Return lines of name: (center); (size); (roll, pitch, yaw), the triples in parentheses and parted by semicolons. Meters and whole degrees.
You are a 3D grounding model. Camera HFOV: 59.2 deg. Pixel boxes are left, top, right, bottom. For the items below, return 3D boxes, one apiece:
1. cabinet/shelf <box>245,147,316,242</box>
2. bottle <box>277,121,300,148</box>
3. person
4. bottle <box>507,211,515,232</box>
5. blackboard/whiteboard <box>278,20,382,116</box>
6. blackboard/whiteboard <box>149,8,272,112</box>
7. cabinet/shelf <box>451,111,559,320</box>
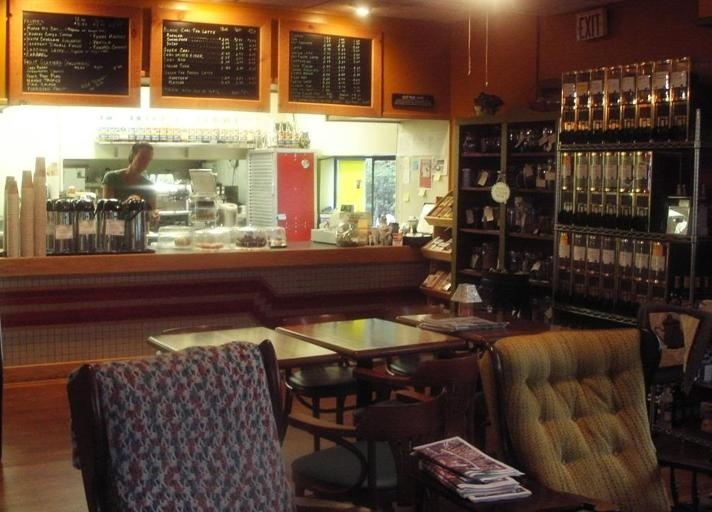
cabinet/shelf: (-1.135, -0.896, 9.089); (1.057, 1.282, 0.522); (3, 6, 19)
bottle: (-0.992, -1.748, 9.095); (0.377, 0.366, 0.369); (-1, 7, -19)
person: (-2.524, -0.896, 7.031); (0.554, 0.746, 0.411); (-1, 6, -14)
bottle: (1.552, -0.356, 6.244); (0.088, 0.208, 0.020); (2, 6, 11)
blackboard/whiteboard: (-0.314, -2.019, 6.649); (1.050, 0.877, 0.088); (-2, 6, -21)
blackboard/whiteboard: (-1.480, -1.979, 6.257); (1.066, 0.890, 0.081); (0, 1, -19)
cabinet/shelf: (1.477, -0.386, 6.083); (0.974, 1.933, 1.601); (1, 6, 4)
